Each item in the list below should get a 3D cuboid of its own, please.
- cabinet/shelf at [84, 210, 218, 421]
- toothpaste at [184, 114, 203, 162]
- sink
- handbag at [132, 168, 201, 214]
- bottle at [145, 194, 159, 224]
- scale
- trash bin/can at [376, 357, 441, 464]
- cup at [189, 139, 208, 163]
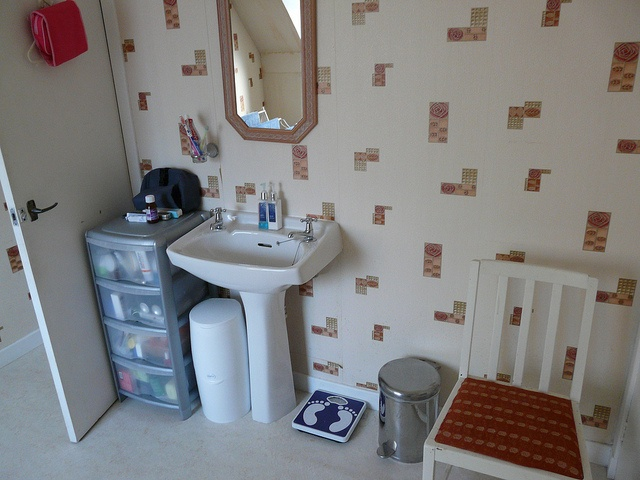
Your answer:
[{"bbox_3d":[-0.948,0.433,2.955,0.588,1.078,0.644,-1,16,6],"label":"cabinet/shelf"},{"bbox_3d":[-0.670,-0.556,2.619,0.081,0.302,0.070,-14,48,-16],"label":"toothpaste"},{"bbox_3d":[-0.345,0.101,2.543,0.811,0.300,0.575,9,23,29],"label":"sink"},{"bbox_3d":[-0.883,-0.278,2.815,0.335,0.266,0.263,-1,5,15],"label":"handbag"},{"bbox_3d":[-0.929,-0.181,2.692,0.071,0.151,0.121,-3,19,-19],"label":"bottle"},{"bbox_3d":[0.057,0.974,2.724,0.319,0.080,0.320,13,21,24],"label":"scale"},{"bbox_3d":[0.466,0.897,2.575,0.409,0.429,0.305,-10,20,-17],"label":"trash bin/can"},{"bbox_3d":[-0.660,-0.474,2.647,0.063,0.139,0.046,-6,2,-9],"label":"cup"}]
